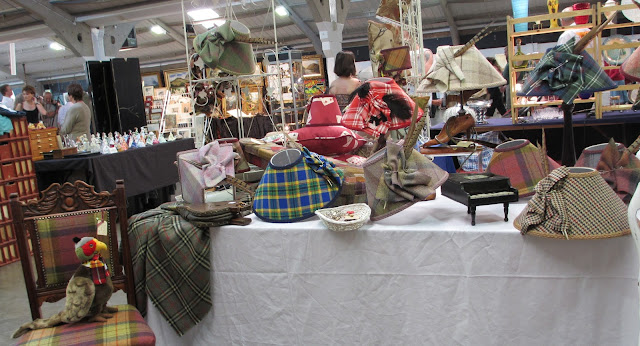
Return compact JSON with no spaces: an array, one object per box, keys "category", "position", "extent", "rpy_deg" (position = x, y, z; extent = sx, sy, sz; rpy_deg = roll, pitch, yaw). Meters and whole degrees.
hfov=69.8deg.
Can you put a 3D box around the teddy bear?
[{"category":"teddy bear","position":[-2.025,0.905,3.654],"extent":[0.854,0.686,0.490],"rpy_deg":[-9,1,4]}]

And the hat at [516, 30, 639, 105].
[{"category":"hat","position":[2.267,-0.847,4.126],"extent":[0.686,0.432,0.691],"rpy_deg":[-1,2,40]}]

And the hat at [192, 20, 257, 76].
[{"category":"hat","position":[-1.035,-1.372,5.084],"extent":[0.629,0.393,0.642],"rpy_deg":[42,33,20]}]

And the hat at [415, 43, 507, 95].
[{"category":"hat","position":[1.425,-1.059,4.709],"extent":[0.933,0.430,0.892],"rpy_deg":[5,17,36]}]

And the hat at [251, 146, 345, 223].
[{"category":"hat","position":[-0.279,0.023,4.027],"extent":[0.900,0.369,0.886],"rpy_deg":[7,33,28]}]

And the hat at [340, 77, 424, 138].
[{"category":"hat","position":[0.592,-0.700,4.618],"extent":[0.900,0.467,0.602],"rpy_deg":[-2,25,26]}]

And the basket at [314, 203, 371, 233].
[{"category":"basket","position":[0.207,0.350,3.638],"extent":[0.311,0.088,0.251],"rpy_deg":[-5,11,-1]}]
